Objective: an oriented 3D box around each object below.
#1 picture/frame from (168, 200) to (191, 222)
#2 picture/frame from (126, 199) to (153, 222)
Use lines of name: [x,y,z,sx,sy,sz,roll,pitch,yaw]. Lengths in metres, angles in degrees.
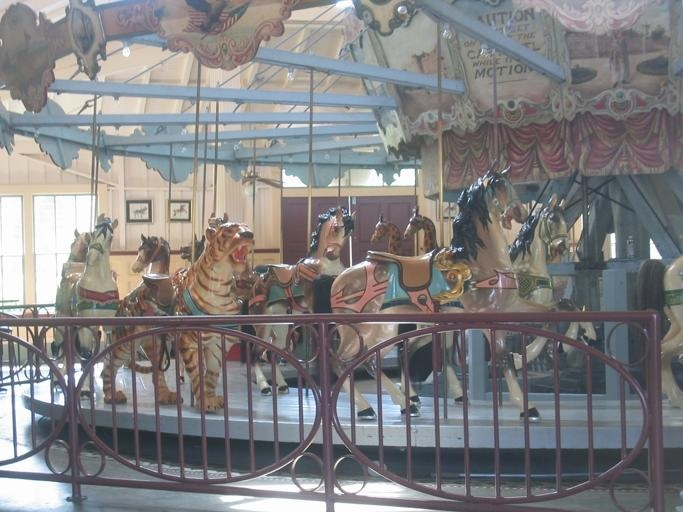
picture/frame: [-3.369,-0.917,23.342,0.407,0.453,0.034,2,0,-13]
picture/frame: [-4.206,-0.930,23.337,0.415,0.435,0.042,0,4,-6]
